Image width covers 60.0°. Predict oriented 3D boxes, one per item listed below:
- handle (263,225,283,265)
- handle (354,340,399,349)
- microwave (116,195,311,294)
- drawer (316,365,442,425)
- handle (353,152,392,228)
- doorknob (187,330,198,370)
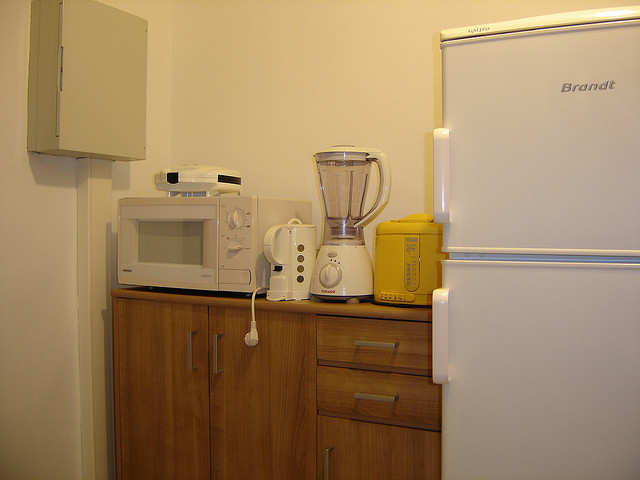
[{"bbox_3d":[-0.169,0.021,1.977,0.069,0.139,0.042,0,3,-4],"label":"handle"},{"bbox_3d":[0.181,0.341,1.797,0.145,0.024,0.021,1,3,17],"label":"handle"},{"bbox_3d":[-0.481,0.011,2.149,0.687,0.341,0.186,2,3,20],"label":"microwave"},{"bbox_3d":[0.200,0.470,1.824,0.324,0.157,0.321,2,4,31],"label":"drawer"},{"bbox_3d":[0.211,-0.175,2.009,0.130,0.264,0.156,2,3,29],"label":"handle"},{"bbox_3d":[-0.475,0.409,2.056,0.048,0.148,0.021,2,3,34],"label":"doorknob"}]
